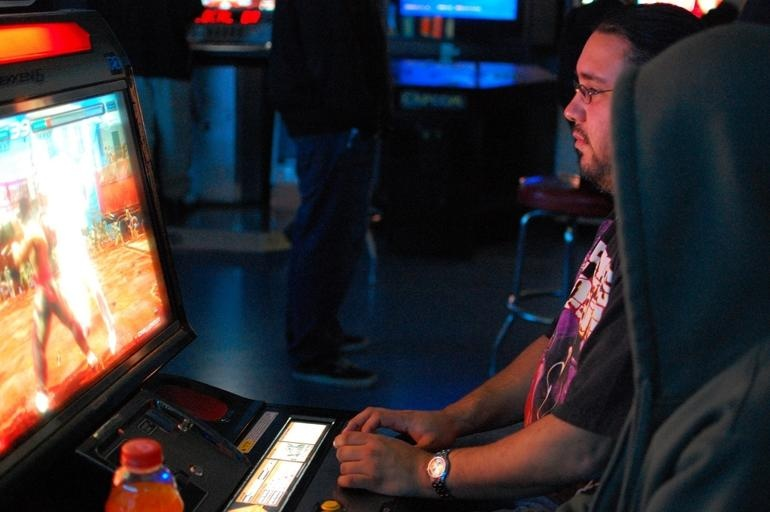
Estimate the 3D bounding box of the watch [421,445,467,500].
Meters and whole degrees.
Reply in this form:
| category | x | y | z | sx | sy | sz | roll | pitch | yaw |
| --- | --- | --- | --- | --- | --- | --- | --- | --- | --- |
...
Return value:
| category | x | y | z | sx | sy | sz | roll | pitch | yaw |
| --- | --- | --- | --- | --- | --- | --- | --- | --- | --- |
| watch | 0.108 | 0.396 | 1.024 | 0.044 | 0.066 | 0.070 | -15 | 35 | 19 |

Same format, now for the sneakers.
| category | x | y | z | sx | sy | sz | roll | pitch | yaw |
| --- | --- | --- | --- | --- | --- | --- | --- | --- | --- |
| sneakers | -0.188 | 0.333 | 1.922 | 0.340 | 0.189 | 0.116 | 1 | 30 | -21 |
